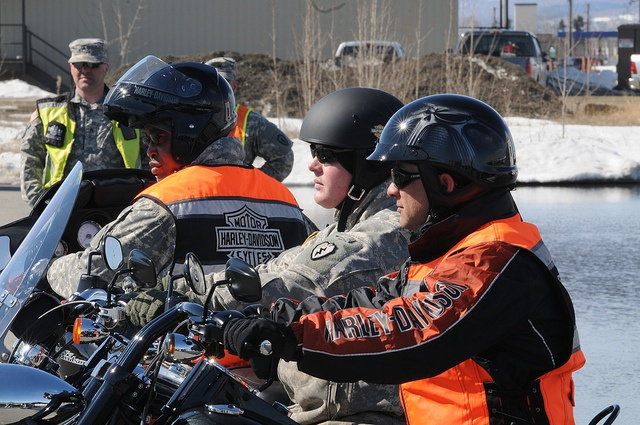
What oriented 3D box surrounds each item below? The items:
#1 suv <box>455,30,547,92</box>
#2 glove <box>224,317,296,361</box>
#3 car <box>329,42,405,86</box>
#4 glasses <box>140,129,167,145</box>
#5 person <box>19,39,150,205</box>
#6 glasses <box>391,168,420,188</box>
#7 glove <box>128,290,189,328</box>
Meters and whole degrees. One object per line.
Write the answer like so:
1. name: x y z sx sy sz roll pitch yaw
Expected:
1. suv: 5.730 -4.477 29.170 1.621 1.541 3.261 2 12 12
2. glove: -0.326 0.717 5.416 0.261 0.146 0.270 5 7 -29
3. car: 1.371 -4.068 25.129 1.263 1.323 2.350 -1 2 1
4. glasses: -1.292 -0.583 7.423 0.208 0.078 0.221 10 -1 -13
5. person: -2.615 -0.774 10.626 1.308 2.340 1.042 3 -12 -19
6. glasses: 0.525 -0.204 5.859 0.115 0.065 0.129 6 -2 -5
7. glove: -1.025 0.659 6.087 0.331 0.157 0.237 -34 26 -34
